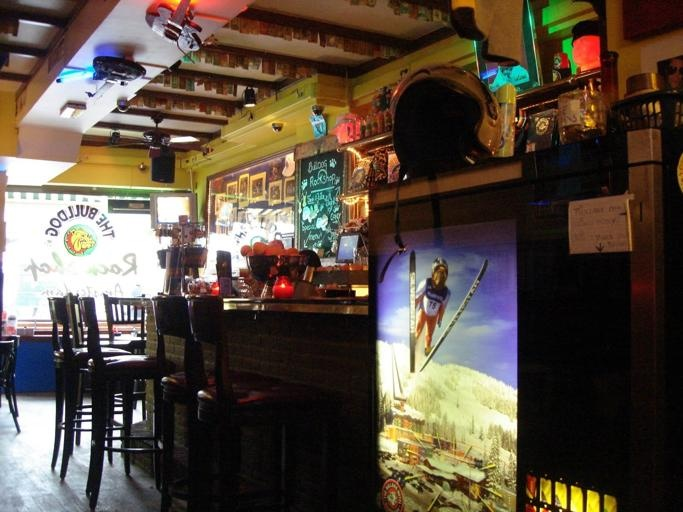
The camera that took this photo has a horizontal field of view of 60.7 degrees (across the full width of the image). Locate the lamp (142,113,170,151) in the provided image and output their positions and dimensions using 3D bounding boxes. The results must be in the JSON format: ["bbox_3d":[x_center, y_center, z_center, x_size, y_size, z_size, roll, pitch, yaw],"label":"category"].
[{"bbox_3d":[-2.531,-1.773,8.269,0.479,0.435,0.489,4,6,33],"label":"lamp"}]

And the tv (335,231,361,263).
[{"bbox_3d":[0.062,-0.087,5.329,0.133,0.262,0.239,10,-12,-18],"label":"tv"}]

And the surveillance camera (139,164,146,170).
[{"bbox_3d":[-3.449,-1.531,9.988,0.094,0.074,0.094,-6,8,-39],"label":"surveillance camera"}]

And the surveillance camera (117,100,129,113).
[{"bbox_3d":[-2.455,-1.670,6.462,0.111,0.127,0.313,1,15,-8],"label":"surveillance camera"}]

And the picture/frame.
[{"bbox_3d":[-1.362,-0.603,8.769,0.068,1.494,2.041,11,12,31],"label":"picture/frame"}]

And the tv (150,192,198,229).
[{"bbox_3d":[-2.624,-0.719,8.964,0.654,0.596,0.371,0,-13,-11],"label":"tv"}]

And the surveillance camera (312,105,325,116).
[{"bbox_3d":[-0.269,-1.595,6.381,0.086,0.078,0.100,1,-4,-32],"label":"surveillance camera"}]

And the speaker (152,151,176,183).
[{"bbox_3d":[-2.749,-1.340,8.870,0.422,0.492,0.436,0,-3,-14],"label":"speaker"}]
